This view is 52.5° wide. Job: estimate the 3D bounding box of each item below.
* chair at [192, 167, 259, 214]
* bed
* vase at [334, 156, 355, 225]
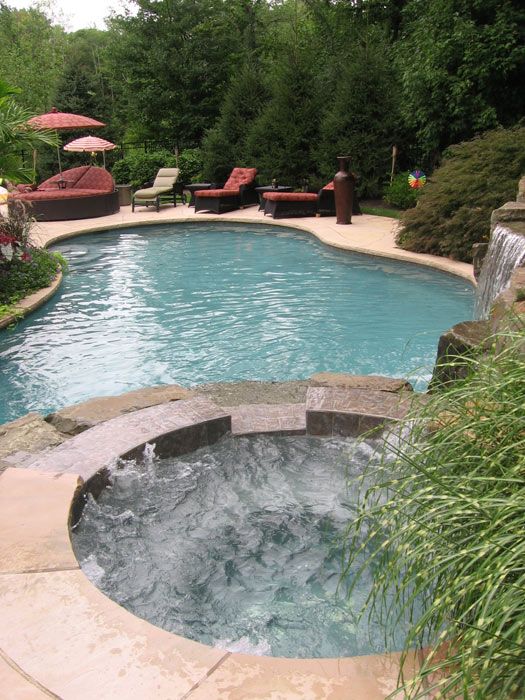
[{"bbox_3d":[-1.075,-4.778,15.971,0.789,1.419,2.154,7,16,36],"label":"chair"},{"bbox_3d":[-5.420,-4.447,15.030,2.374,1.650,2.628,-3,13,2],"label":"bed"},{"bbox_3d":[1.920,-3.748,12.680,0.443,1.529,0.708,-1,13,9],"label":"vase"}]
